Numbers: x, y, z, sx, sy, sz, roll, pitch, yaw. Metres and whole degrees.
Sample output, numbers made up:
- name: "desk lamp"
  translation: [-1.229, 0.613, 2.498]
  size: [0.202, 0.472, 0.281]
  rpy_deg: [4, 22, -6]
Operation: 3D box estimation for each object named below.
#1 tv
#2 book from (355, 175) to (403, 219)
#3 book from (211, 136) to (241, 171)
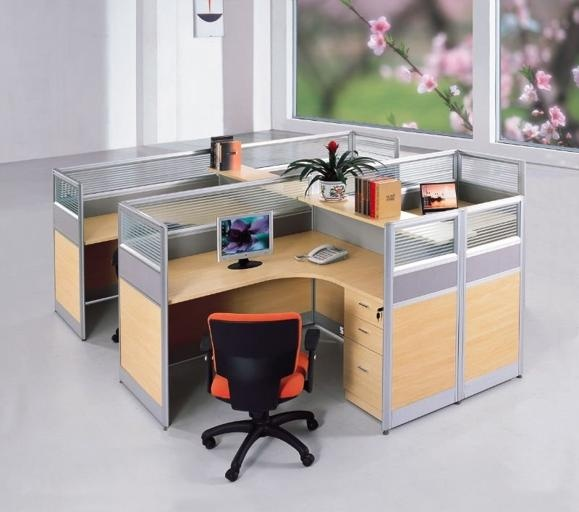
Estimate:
- name: "tv"
  translation: [-0.305, -0.094, 3.645]
  size: [0.368, 0.313, 0.134]
  rpy_deg: [-8, 14, -30]
- name: "book"
  translation: [0.637, -0.368, 3.455]
  size: [0.341, 0.330, 0.254]
  rpy_deg: [-13, 22, -35]
- name: "book"
  translation: [-0.631, -0.983, 5.189]
  size: [0.297, 0.337, 0.224]
  rpy_deg: [-8, 19, -31]
